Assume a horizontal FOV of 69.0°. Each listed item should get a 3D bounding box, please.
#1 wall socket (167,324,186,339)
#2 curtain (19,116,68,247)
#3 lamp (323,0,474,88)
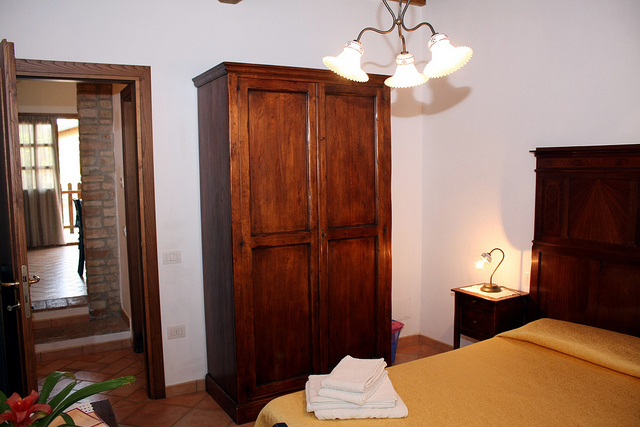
[{"bbox_3d":[-1.352,1.102,4.350,0.143,0.110,0.023,-2,8,-25],"label":"wall socket"},{"bbox_3d":[-5.512,-0.591,9.193,0.706,2.542,0.579,-8,7,-33],"label":"curtain"},{"bbox_3d":[0.701,-1.592,4.354,0.977,0.977,0.922,13,21,37],"label":"lamp"}]
